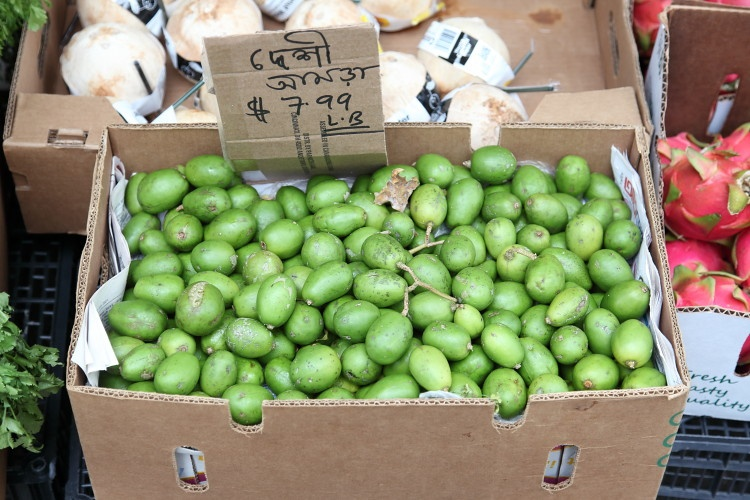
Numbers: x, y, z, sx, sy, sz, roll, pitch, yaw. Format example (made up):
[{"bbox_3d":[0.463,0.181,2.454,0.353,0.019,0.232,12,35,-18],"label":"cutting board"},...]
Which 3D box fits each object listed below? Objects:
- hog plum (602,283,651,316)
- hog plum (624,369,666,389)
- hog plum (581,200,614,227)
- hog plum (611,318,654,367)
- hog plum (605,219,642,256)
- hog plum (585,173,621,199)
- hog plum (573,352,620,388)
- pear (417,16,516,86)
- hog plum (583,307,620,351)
[{"bbox_3d":[1.096,0.225,2.929,0.162,0.122,0.127,-24,59,28],"label":"hog plum"},{"bbox_3d":[1.080,0.512,2.696,0.119,0.093,0.089,-28,2,-25],"label":"hog plum"},{"bbox_3d":[1.057,-0.186,3.198,0.108,0.113,0.148,-13,29,35],"label":"hog plum"},{"bbox_3d":[1.037,0.378,2.761,0.141,0.146,0.193,18,61,21],"label":"hog plum"},{"bbox_3d":[1.143,-0.060,3.107,0.143,0.183,0.157,-3,4,8],"label":"hog plum"},{"bbox_3d":[1.109,-0.303,3.292,0.144,0.085,0.107,31,85,12],"label":"hog plum"},{"bbox_3d":[0.896,0.479,2.787,0.165,0.142,0.144,-17,3,-13],"label":"hog plum"},{"bbox_3d":[0.533,-1.121,3.874,0.420,0.432,0.222,-5,46,50],"label":"pear"},{"bbox_3d":[0.943,0.338,2.837,0.125,0.130,0.178,-5,77,7],"label":"hog plum"}]
